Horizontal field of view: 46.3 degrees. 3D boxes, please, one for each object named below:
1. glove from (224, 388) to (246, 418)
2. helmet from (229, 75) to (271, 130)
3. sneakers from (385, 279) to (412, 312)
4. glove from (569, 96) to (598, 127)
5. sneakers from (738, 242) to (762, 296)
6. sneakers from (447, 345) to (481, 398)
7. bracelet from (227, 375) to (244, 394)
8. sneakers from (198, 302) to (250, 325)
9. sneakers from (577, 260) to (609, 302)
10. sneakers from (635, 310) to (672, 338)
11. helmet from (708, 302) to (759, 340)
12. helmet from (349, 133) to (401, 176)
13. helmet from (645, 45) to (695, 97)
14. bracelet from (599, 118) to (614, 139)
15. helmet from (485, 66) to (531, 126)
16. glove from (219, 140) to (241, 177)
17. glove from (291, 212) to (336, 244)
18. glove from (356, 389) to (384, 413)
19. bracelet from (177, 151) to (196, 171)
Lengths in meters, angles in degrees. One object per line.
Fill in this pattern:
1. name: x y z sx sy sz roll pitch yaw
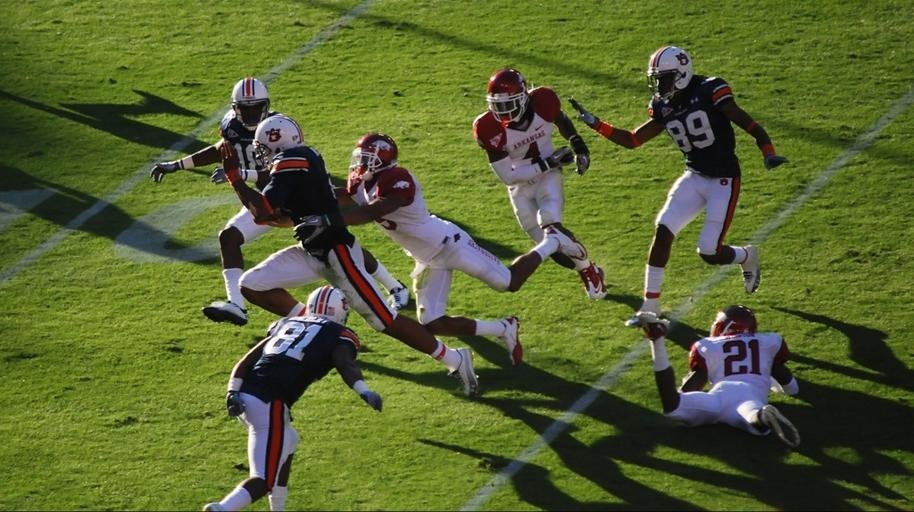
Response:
1. glove: -2.122 1.430 10.330 0.194 0.235 0.228 0 57 16
2. helmet: -2.295 -1.738 11.925 0.489 0.463 0.559 -10 20 -12
3. sneakers: -0.671 0.449 12.210 0.153 0.188 0.379 -4 86 30
4. glove: 1.438 -1.615 12.105 0.117 0.447 0.283 -52 7 6
5. sneakers: 3.245 0.143 11.792 0.275 0.523 0.196 -11 16 -20
6. sneakers: 0.100 1.194 11.219 0.296 0.595 0.224 -30 19 -34
7. bracelet: -2.191 1.246 10.410 0.155 0.134 0.140 -5 44 25
8. sneakers: -2.387 0.631 11.217 0.582 0.176 0.262 13 12 -15
9. sneakers: 1.528 0.283 11.942 0.197 0.234 0.524 -40 31 14
10. sneakers: 2.069 0.727 11.051 0.217 0.525 0.186 -47 64 9
11. helmet: 2.884 0.677 11.087 0.449 0.359 0.375 12 12 40
12. helmet: -0.877 -1.085 11.276 0.591 0.381 0.418 -8 16 -40
13. helmet: 2.358 -2.065 11.786 0.586 0.441 0.415 -17 19 -17
14. bracelet: 1.683 -1.431 12.129 0.138 0.165 0.199 -60 9 5
15. helmet: 0.566 -1.853 12.012 0.512 0.483 0.669 2 28 23
16. glove: -2.437 -1.057 11.495 0.155 0.120 0.479 -20 33 0
17. glove: -1.429 -0.288 10.709 0.394 0.259 0.100 -28 24 3
18. glove: -0.794 1.410 10.243 0.111 0.281 0.201 -60 14 -9
19. bracelet: -3.129 -1.086 12.217 0.194 0.145 0.229 -35 17 -26
